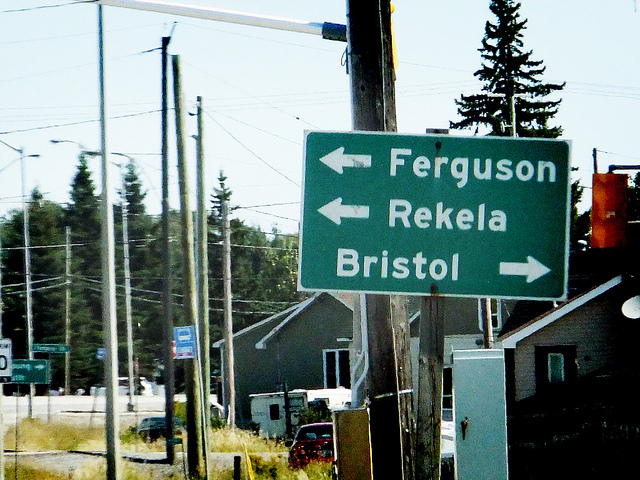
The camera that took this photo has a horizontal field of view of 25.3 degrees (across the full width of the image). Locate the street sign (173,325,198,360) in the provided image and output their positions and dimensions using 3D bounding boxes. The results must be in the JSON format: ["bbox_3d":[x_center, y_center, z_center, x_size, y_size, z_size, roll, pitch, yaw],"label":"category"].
[{"bbox_3d":[-5.883,4.270,62.145,0.906,1.502,0.688,-4,22,-5],"label":"street sign"}]

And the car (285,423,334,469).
[{"bbox_3d":[-0.408,9.159,63.871,1.964,2.002,2.543,0,-10,-1],"label":"car"}]

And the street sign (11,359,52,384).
[{"bbox_3d":[-11.983,5.354,58.933,1.545,1.047,1.514,2,-11,-13],"label":"street sign"}]

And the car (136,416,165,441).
[{"bbox_3d":[-8.656,9.624,72.887,1.366,1.292,1.530,1,-10,-9],"label":"car"}]
